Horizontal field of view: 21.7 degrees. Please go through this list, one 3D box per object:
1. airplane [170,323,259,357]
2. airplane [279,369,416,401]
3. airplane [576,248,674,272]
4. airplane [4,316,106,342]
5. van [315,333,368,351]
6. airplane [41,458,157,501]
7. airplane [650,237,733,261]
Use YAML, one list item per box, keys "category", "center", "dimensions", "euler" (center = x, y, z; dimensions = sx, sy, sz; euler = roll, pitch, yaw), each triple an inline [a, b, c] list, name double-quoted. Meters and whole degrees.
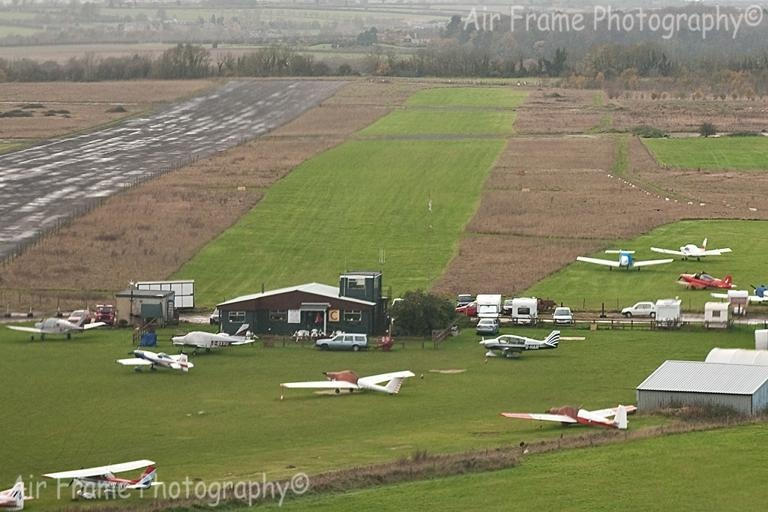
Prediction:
- category: "airplane"
  center: [-30.838, 12.914, 355.863]
  dimensions: [8.324, 6.486, 19.142]
  euler: [3, -3, -12]
- category: "airplane"
  center: [-5.687, 21.550, 343.667]
  dimensions: [20.969, 3.731, 4.347]
  euler: [-1, 7, -3]
- category: "airplane"
  center: [45.431, 0.331, 379.911]
  dimensions: [16.975, 3.382, 5.892]
  euler: [1, 7, 9]
- category: "airplane"
  center: [-59.413, 12.507, 361.285]
  dimensions: [17.850, 3.630, 7.196]
  euler: [-2, 7, -12]
- category: "van"
  center: [-7.269, 15.281, 357.780]
  dimensions: [7.642, 2.663, 3.670]
  euler: [3, 1, 2]
- category: "airplane"
  center: [-45.160, 36.280, 327.213]
  dimensions: [15.761, 5.675, 3.794]
  euler: [-1, 7, -4]
- category: "airplane"
  center: [58.946, -3.153, 380.365]
  dimensions: [17.090, 6.014, 7.887]
  euler: [3, -2, 28]
